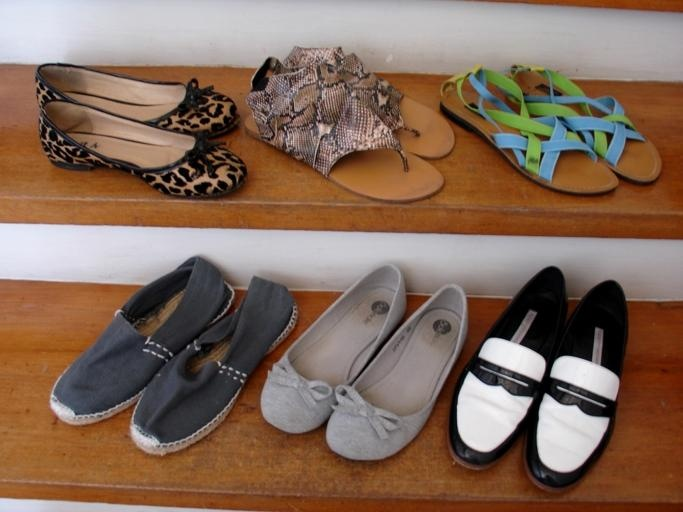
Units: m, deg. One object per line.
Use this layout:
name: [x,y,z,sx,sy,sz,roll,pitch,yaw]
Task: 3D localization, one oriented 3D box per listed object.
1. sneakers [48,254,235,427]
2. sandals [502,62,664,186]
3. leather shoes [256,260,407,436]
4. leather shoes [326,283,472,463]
sneakers: [-0.491,0.233,1.576,0.224,0.180,0.590,39,69,21]
sandals: [0.612,-0.358,1.677,0.192,0.104,0.518,-40,64,-11]
leather shoes: [0.024,0.187,1.587,0.201,0.173,0.580,34,62,21]
leather shoes: [0.189,0.264,1.506,0.216,0.157,0.524,33,71,23]
